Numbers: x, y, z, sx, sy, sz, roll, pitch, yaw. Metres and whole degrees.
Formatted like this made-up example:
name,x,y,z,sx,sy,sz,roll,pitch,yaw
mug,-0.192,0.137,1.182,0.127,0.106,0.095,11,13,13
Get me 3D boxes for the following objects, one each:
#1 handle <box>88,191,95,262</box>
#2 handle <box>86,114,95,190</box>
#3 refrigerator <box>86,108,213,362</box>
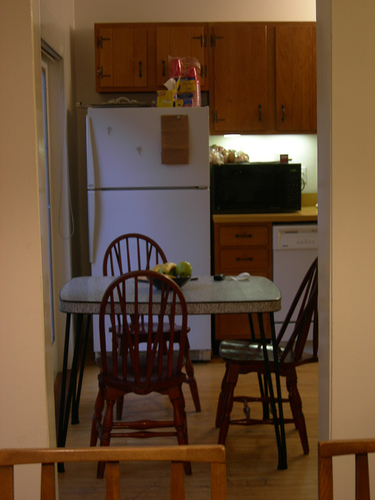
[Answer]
name,x,y,z,sx,sy,sz,roll,pitch,yaw
handle,-0.634,-0.197,3.406,0.052,0.608,0.067,-6,-29,0
handle,-0.638,-0.627,3.353,0.037,0.477,0.088,-5,7,-27
refrigerator,-0.195,0.024,3.800,0.770,1.626,1.003,0,30,4
